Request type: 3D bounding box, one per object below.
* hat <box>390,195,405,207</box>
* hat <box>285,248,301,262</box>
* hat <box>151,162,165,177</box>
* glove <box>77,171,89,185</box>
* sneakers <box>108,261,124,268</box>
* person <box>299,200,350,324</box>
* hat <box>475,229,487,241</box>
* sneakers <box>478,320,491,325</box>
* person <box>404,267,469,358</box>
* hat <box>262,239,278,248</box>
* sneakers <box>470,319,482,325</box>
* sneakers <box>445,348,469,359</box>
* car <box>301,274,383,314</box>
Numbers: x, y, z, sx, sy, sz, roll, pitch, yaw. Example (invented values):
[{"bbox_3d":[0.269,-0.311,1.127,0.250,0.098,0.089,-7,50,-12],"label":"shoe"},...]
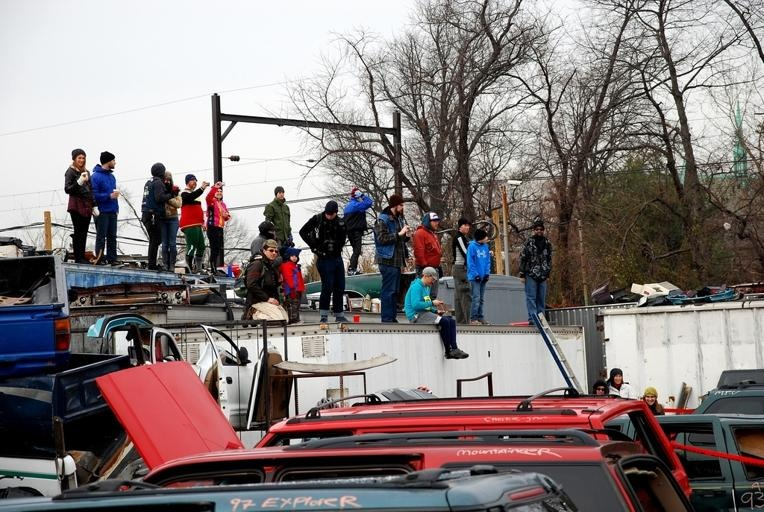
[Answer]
[{"bbox_3d":[0.332,-1.266,26.608,0.270,0.234,0.247,7,10,4],"label":"hat"},{"bbox_3d":[-1.893,-0.036,25.157,0.288,0.308,0.393,7,-6,-34],"label":"hat"},{"bbox_3d":[-5.299,-2.052,28.427,0.293,0.310,0.238,-3,-2,-9],"label":"hat"},{"bbox_3d":[-6.631,-1.754,26.616,0.206,0.143,0.278,6,37,-10],"label":"glove"},{"bbox_3d":[-6.419,0.194,28.796,0.398,0.159,0.149,-2,-2,30],"label":"sneakers"},{"bbox_3d":[-1.200,0.089,26.033,0.882,2.638,1.190,-3,-2,-2],"label":"person"},{"bbox_3d":[2.336,-0.487,28.103,0.301,0.260,0.238,-7,15,-17],"label":"hat"},{"bbox_3d":[2.438,1.579,28.519,0.383,0.160,0.132,-6,-7,44],"label":"sneakers"},{"bbox_3d":[1.131,1.253,26.049,1.213,1.365,1.000,-3,-2,1],"label":"person"},{"bbox_3d":[-2.319,-0.281,24.865,0.235,0.229,0.189,13,-2,22],"label":"hat"},{"bbox_3d":[2.233,1.555,28.314,0.295,0.126,0.100,-1,4,-22],"label":"sneakers"},{"bbox_3d":[1.626,2.109,26.013,0.403,0.171,0.225,-3,-5,26],"label":"sneakers"},{"bbox_3d":[-0.888,1.090,36.211,1.727,0.773,1.160,-7,-4,30],"label":"car"}]
